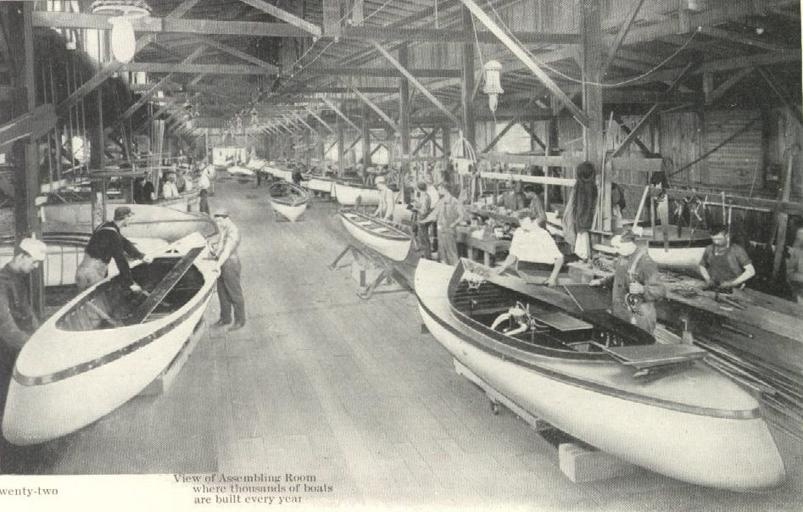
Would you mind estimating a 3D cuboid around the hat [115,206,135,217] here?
[{"bbox_3d":[-3.111,-0.507,9.655,0.095,0.068,0.132,11,25,17],"label":"hat"}]

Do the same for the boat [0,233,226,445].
[{"bbox_3d":[-2.906,0.946,9.103,1.154,0.832,2.853,31,39,3],"label":"boat"}]

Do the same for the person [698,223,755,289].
[{"bbox_3d":[3.555,0.012,9.327,0.419,0.877,0.489,-5,-5,-38],"label":"person"}]

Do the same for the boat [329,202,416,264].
[{"bbox_3d":[-0.272,-0.289,11.265,0.481,0.463,1.615,1,26,-36],"label":"boat"}]

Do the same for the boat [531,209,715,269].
[{"bbox_3d":[2.666,-0.134,10.176,1.769,0.613,0.635,6,8,21],"label":"boat"}]

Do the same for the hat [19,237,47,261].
[{"bbox_3d":[-3.925,-0.085,9.254,0.271,0.155,0.198,36,8,12],"label":"hat"}]
